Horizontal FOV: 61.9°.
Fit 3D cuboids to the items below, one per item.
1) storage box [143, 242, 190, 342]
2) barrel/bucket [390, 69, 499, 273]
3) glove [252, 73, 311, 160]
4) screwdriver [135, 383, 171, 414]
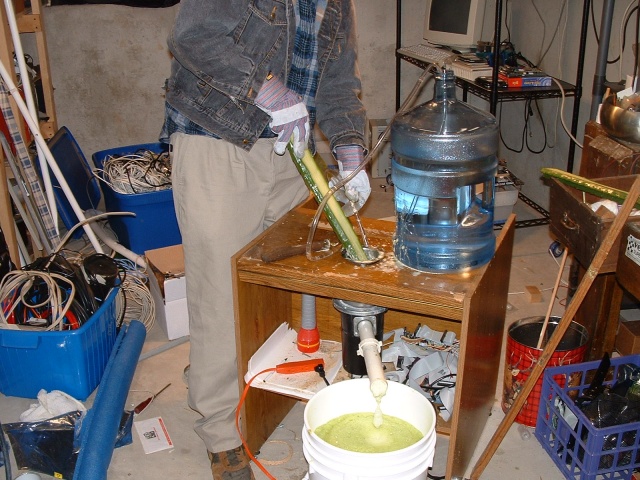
[{"bbox_3d":[-0.827,0.302,2.858,0.255,0.392,0.313,-14,37,-13],"label":"storage box"},{"bbox_3d":[0.400,-0.237,1.739,0.370,0.606,0.349,-3,24,1],"label":"barrel/bucket"},{"bbox_3d":[-0.125,-0.415,1.847,0.174,0.269,0.071,-31,21,-32],"label":"glove"},{"bbox_3d":[-0.793,0.735,2.521,0.048,0.021,0.173,9,27,26],"label":"screwdriver"}]
